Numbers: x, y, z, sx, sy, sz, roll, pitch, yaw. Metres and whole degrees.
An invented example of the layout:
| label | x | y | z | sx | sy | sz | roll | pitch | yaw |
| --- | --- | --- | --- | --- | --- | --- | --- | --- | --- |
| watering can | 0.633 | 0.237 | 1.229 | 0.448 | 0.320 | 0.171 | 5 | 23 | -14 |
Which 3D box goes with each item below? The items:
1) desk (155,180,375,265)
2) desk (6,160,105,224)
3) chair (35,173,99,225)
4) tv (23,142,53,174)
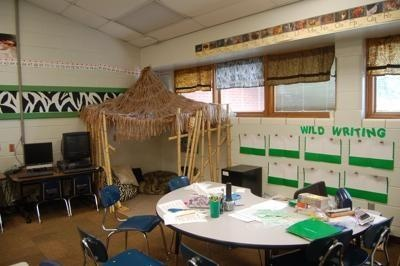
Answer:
| label | x | y | z | sx | sy | sz | roll | pitch | yaw |
| --- | --- | --- | --- | --- | --- | --- | --- | --- | --- |
| desk | 0.606 | 1.143 | 3.541 | 2.008 | 0.466 | 1.288 | 9 | 15 | 43 |
| desk | -3.197 | 0.999 | 6.093 | 1.533 | 0.769 | 1.191 | -3 | 2 | -40 |
| chair | -2.830 | 1.398 | 5.955 | 0.930 | 0.691 | 0.390 | -5 | 7 | -37 |
| tv | -3.429 | 0.534 | 5.962 | 0.626 | 0.732 | 0.094 | -1 | -3 | -37 |
